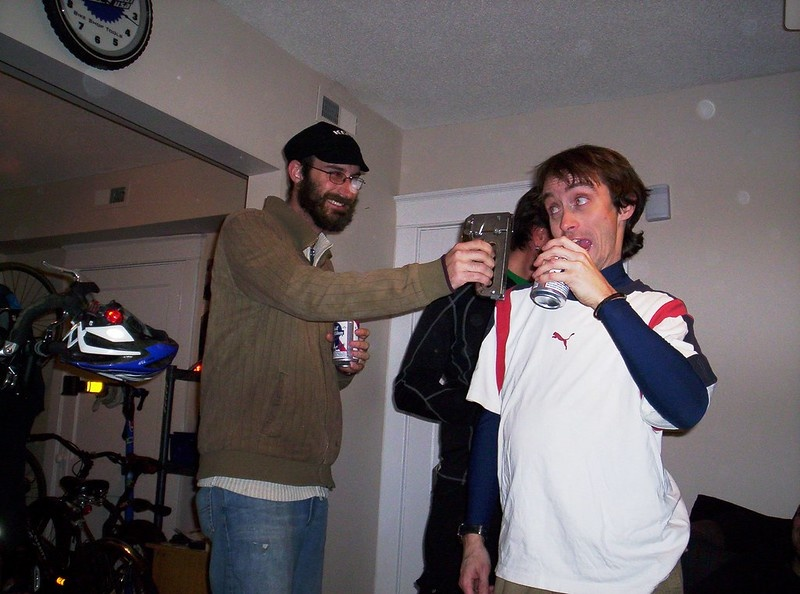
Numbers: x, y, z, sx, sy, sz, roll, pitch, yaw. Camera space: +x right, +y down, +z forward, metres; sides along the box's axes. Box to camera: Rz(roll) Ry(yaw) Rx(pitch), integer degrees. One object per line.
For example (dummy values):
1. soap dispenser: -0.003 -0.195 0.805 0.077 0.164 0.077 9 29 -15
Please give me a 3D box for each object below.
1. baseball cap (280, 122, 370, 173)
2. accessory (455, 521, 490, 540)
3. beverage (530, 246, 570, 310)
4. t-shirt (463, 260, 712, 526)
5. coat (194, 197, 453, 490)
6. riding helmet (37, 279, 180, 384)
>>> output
1. baseball cap: -0.313 -0.650 2.481 0.278 0.150 0.210 11 9 18
2. accessory: 0.244 0.795 2.002 0.090 0.054 0.092 -13 -42 36
3. beverage: 0.477 -0.064 1.888 0.114 0.121 0.207 25 43 10
4. t-shirt: 0.600 0.349 1.906 0.739 0.922 0.257 0 -6 41
5. coat: -0.342 0.273 2.399 1.020 1.056 0.872 -6 -19 16
6. riding helmet: -1.250 0.149 2.440 0.488 0.233 0.370 12 1 20
